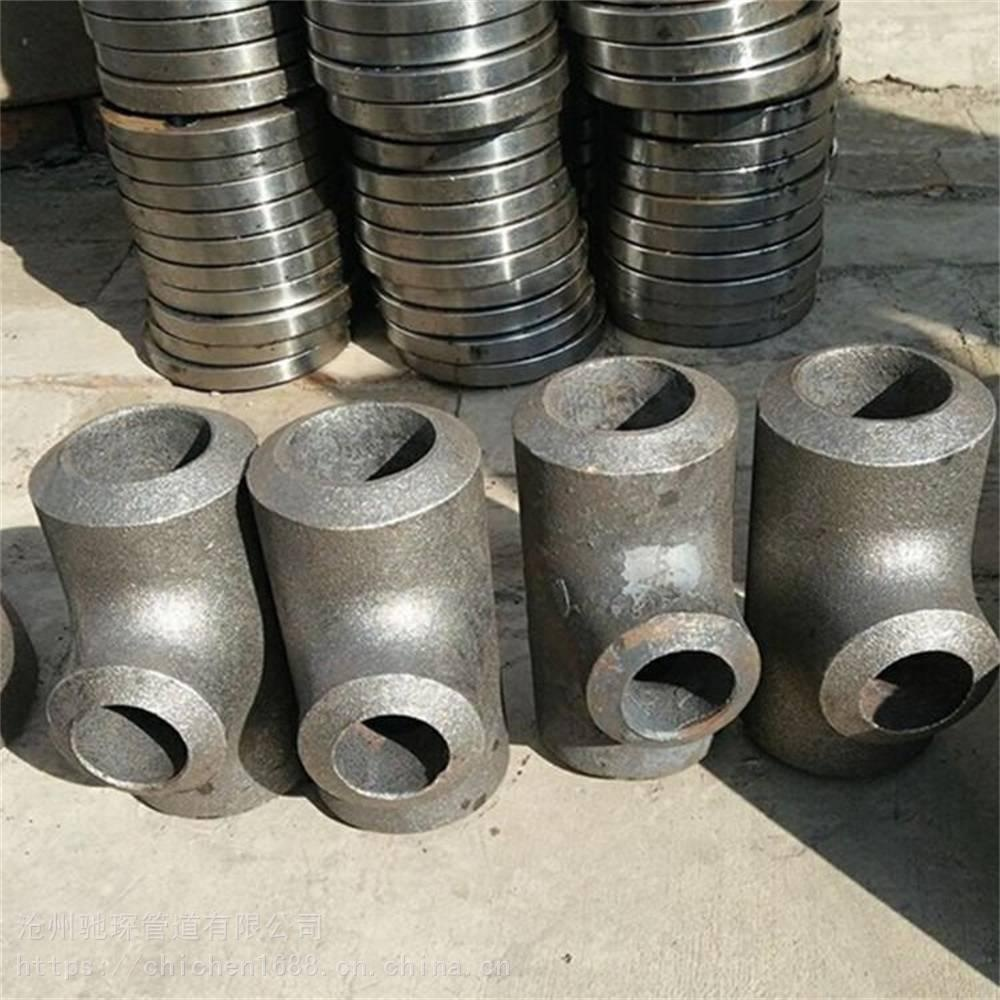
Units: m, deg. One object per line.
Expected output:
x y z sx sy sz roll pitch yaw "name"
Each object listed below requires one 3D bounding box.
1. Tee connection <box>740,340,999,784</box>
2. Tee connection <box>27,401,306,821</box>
0.692 0.141 2.343 0.449 0.746 0.574 -1 38 10 "Tee connection"
-0.646 0.267 2.421 0.521 0.728 0.518 -13 28 -21 "Tee connection"
